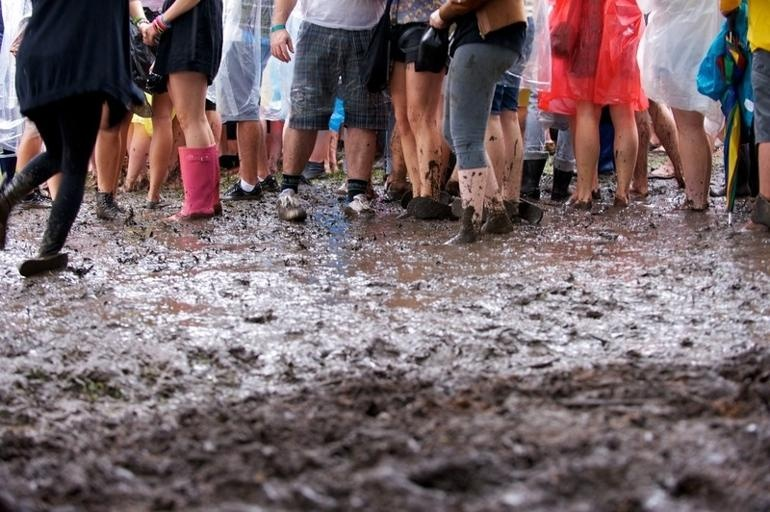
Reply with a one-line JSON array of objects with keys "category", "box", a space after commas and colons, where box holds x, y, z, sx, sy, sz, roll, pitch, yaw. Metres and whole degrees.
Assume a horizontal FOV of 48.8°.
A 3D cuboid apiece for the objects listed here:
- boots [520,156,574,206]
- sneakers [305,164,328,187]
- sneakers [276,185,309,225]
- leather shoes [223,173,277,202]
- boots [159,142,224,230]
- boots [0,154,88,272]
[{"category": "boots", "box": [1.354, -0.626, 7.179, 0.384, 0.310, 0.348, 3, 20, 1]}, {"category": "sneakers", "box": [-0.735, -0.832, 8.647, 0.103, 0.150, 0.339, 0, 5, 18]}, {"category": "sneakers", "box": [-0.684, -0.390, 6.285, 0.215, 0.215, 0.478, -11, 28, 4]}, {"category": "leather shoes", "box": [-1.139, -0.557, 7.315, 0.431, 0.224, 0.164, -11, 16, -24]}, {"category": "boots", "box": [-1.384, -0.508, 6.047, 0.403, 0.614, 0.390, -4, 16, -21]}, {"category": "boots", "box": [-2.070, -0.235, 5.154, 0.370, 0.178, 0.713, -12, 50, 8]}]
